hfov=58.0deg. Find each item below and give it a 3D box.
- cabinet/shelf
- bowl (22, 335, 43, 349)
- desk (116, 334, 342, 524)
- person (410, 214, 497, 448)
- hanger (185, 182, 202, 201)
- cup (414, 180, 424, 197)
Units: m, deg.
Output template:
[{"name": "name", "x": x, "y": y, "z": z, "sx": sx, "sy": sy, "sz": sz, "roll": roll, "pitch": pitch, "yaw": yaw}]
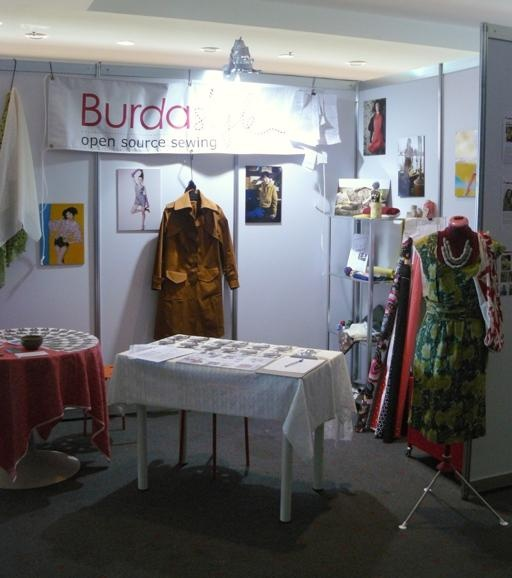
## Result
[{"name": "cabinet/shelf", "x": 0.962, "y": -0.012, "z": 4.086, "sx": 0.562, "sy": 1.627, "sz": 1.026, "roll": 1, "pitch": 0, "yaw": 6}, {"name": "bowl", "x": -1.207, "y": 0.286, "z": 2.515, "sx": 0.071, "sy": 0.062, "sz": 0.083, "roll": 2, "pitch": -1, "yaw": -4}, {"name": "desk", "x": -0.131, "y": 0.757, "z": 2.506, "sx": 1.116, "sy": 0.890, "sz": 0.887, "roll": 3, "pitch": 2, "yaw": 24}, {"name": "person", "x": 0.960, "y": 0.212, "z": 2.245, "sx": 0.396, "sy": 0.841, "sz": 0.304, "roll": 1, "pitch": 0, "yaw": 20}, {"name": "hanger", "x": -0.538, "y": -0.833, "z": 3.971, "sx": 0.111, "sy": 0.177, "sz": 0.048, "roll": -14, "pitch": 1, "yaw": -26}, {"name": "cup", "x": 1.334, "y": -0.821, "z": 3.768, "sx": 0.080, "sy": 0.096, "sz": 0.093, "roll": -4, "pitch": 10, "yaw": -15}]
